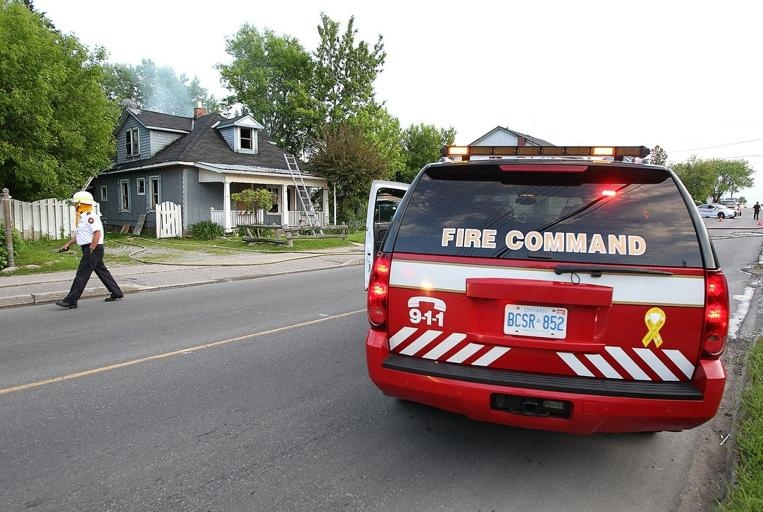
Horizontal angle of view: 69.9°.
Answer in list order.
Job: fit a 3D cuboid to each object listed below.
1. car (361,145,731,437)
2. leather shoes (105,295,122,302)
[{"bbox_3d":[2.024,0.516,7.198,2.972,2.750,5.511,3,-3,14],"label":"car"},{"bbox_3d":[-5.421,0.856,10.981,0.383,0.159,0.126,2,2,-14],"label":"leather shoes"}]
